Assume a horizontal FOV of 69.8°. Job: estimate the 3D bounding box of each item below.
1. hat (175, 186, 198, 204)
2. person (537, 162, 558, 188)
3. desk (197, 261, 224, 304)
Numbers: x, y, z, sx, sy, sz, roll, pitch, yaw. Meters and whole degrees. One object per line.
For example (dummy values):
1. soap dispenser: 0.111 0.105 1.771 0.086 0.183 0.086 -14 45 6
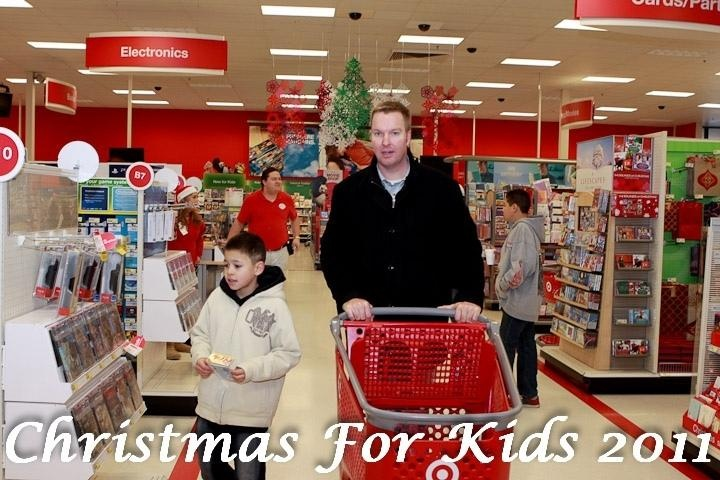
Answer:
1. hat: -2.185 -0.583 6.421 0.244 0.125 0.210 -23 -2 10
2. person: 3.871 -1.353 10.537 0.355 0.474 0.720 3 6 26
3. desk: -1.868 0.496 6.330 0.260 0.703 0.666 6 -15 -12
